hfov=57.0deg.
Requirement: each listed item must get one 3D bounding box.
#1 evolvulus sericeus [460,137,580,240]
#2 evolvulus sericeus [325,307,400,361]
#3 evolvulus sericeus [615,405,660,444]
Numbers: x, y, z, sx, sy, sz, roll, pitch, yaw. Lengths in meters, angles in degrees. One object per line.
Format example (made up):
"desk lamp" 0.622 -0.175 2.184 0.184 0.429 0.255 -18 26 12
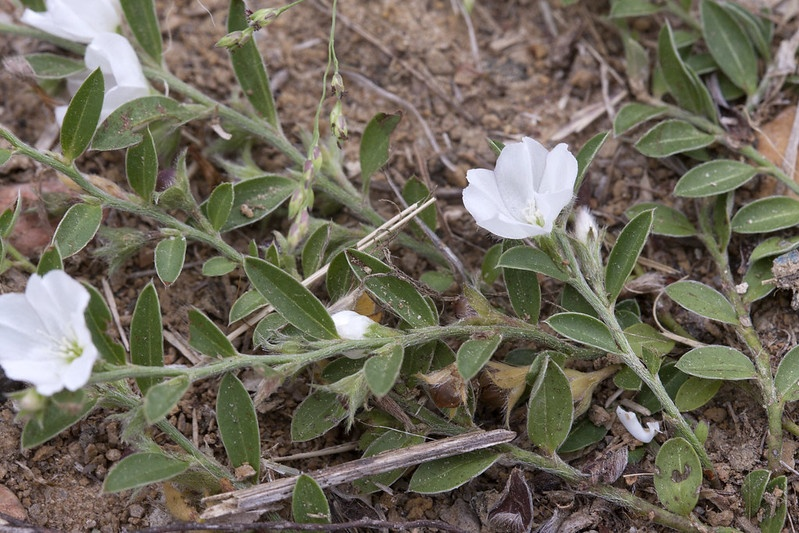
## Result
"evolvulus sericeus" 0.545 -0.345 3.192 0.417 0.247 0.485 -9 63 33
"evolvulus sericeus" -0.204 0.252 3.113 0.193 0.049 0.125 16 68 7
"evolvulus sericeus" 1.070 0.710 3.388 0.193 0.109 0.140 21 83 -14
